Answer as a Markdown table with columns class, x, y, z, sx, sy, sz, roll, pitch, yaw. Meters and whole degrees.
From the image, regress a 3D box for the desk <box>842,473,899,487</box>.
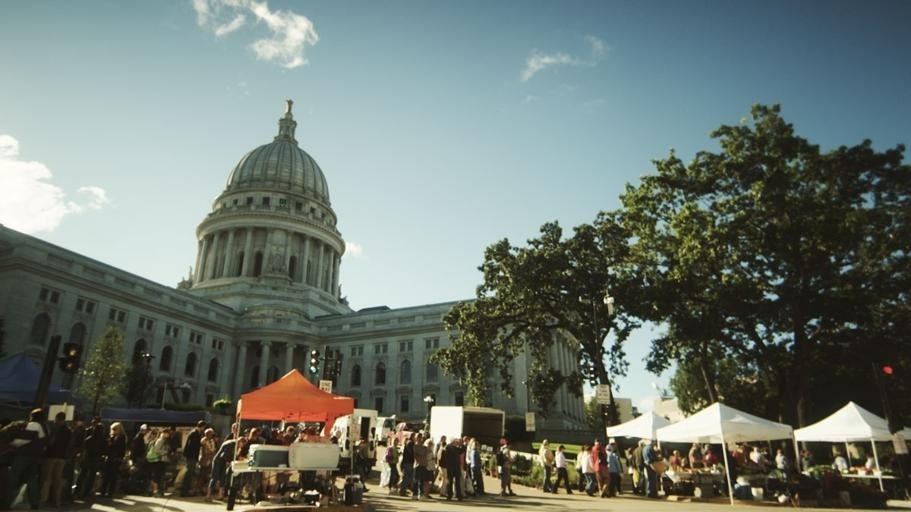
| class | x | y | z | sx | sy | sz | roll | pitch | yaw |
| --- | --- | --- | --- | --- | --- | --- | --- | --- | --- |
| desk | 24.600 | 13.412 | 32.117 | 2.267 | 0.893 | 2.766 | -16 | -28 | 33 |

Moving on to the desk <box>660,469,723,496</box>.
| class | x | y | z | sx | sy | sz | roll | pitch | yaw |
| --- | --- | --- | --- | --- | --- | --- | --- | --- | --- |
| desk | 13.495 | 13.307 | 31.569 | 2.368 | 0.747 | 2.208 | 7 | -12 | -30 |

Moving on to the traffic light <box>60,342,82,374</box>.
| class | x | y | z | sx | sy | sz | roll | pitch | yaw |
| --- | --- | --- | --- | --- | --- | --- | --- | --- | --- |
| traffic light | -19.673 | 5.179 | 27.801 | 0.838 | 1.449 | 1.026 | 17 | -29 | -31 |

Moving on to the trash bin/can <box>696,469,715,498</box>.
| class | x | y | z | sx | sy | sz | roll | pitch | yaw |
| --- | --- | --- | --- | --- | --- | --- | --- | --- | --- |
| trash bin/can | 14.222 | 13.263 | 31.326 | 1.029 | 1.465 | 0.794 | -8 | -26 | 19 |
